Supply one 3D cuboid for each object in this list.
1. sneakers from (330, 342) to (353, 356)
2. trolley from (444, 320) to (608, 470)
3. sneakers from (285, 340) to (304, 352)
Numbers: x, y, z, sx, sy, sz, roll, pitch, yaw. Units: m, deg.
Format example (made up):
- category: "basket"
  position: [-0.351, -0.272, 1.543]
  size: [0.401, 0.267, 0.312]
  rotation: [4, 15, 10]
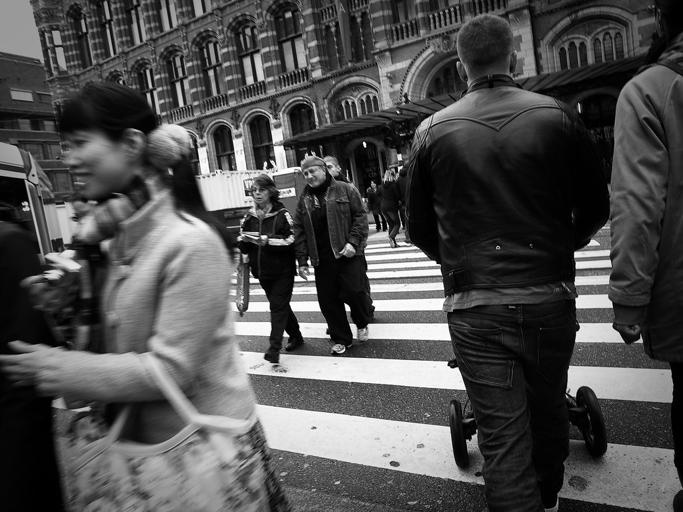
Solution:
- category: "sneakers"
  position: [0.004, 0.994, 6.788]
  size: [0.089, 0.108, 0.237]
  rotation: [-2, -8, 30]
- category: "trolley"
  position: [1.146, 1.029, 4.232]
  size: [0.960, 1.157, 0.656]
  rotation: [-6, -37, -1]
- category: "sneakers"
  position: [-0.517, 1.004, 7.163]
  size: [0.082, 0.102, 0.238]
  rotation: [-5, -5, 31]
